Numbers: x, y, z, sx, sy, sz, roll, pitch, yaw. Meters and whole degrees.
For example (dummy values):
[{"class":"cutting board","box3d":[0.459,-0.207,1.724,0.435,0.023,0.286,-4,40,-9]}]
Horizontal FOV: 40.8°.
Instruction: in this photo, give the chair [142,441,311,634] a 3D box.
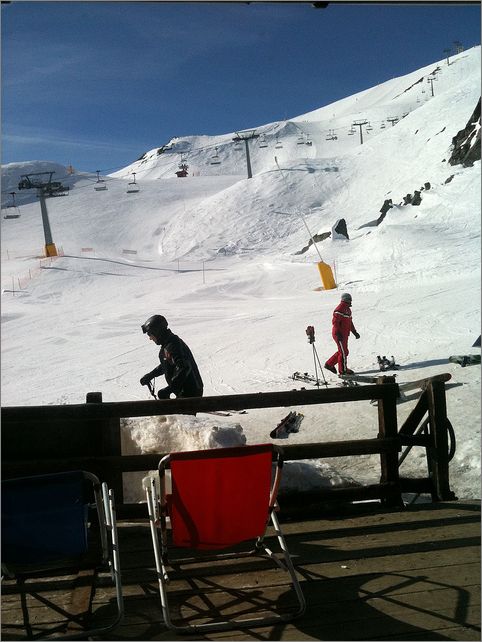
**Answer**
[{"class":"chair","box3d":[-0.152,1.048,3.574,0.748,0.729,1.079,-2,11,-10]}]

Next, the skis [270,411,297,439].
[{"class":"skis","box3d":[0.486,1.287,7.921,0.161,0.237,0.711,-5,6,19]}]

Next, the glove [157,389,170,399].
[{"class":"glove","box3d":[-0.780,0.737,6.539,0.116,0.091,0.203,-8,2,-5]}]

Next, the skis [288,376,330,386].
[{"class":"skis","box3d":[1.358,1.186,12.862,0.237,0.079,0.421,-8,9,-40]}]

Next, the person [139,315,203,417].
[{"class":"person","box3d":[-0.808,0.395,6.712,0.582,0.753,0.730,-7,3,9]}]

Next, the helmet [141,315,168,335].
[{"class":"helmet","box3d":[-0.932,0.038,6.712,0.261,0.201,0.189,3,8,19]}]

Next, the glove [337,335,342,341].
[{"class":"glove","box3d":[1.968,0.339,12.733,0.140,0.107,0.037,-9,3,-37]}]
